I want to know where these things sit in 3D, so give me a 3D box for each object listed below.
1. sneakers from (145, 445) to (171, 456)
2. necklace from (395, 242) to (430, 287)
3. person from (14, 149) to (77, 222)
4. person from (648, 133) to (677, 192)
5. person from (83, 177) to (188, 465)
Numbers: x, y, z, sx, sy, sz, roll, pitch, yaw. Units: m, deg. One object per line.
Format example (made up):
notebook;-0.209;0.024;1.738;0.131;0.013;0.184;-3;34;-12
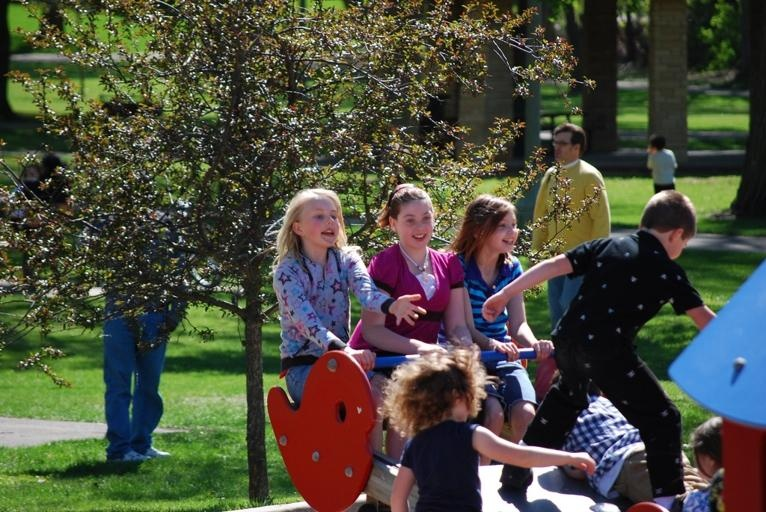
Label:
sneakers;-2.586;2.240;17.214;0.275;0.122;0.103;1;4;-12
necklace;0.324;0.130;15.061;0.131;0.401;0.212;-36;-10;37
person;-3.666;-0.744;16.301;0.337;0.398;1.021;-18;17;-23
person;4.818;-1.555;25.768;0.436;0.947;0.871;-3;12;10
person;-2.774;1.358;16.824;0.814;2.027;1.333;-9;13;-19
